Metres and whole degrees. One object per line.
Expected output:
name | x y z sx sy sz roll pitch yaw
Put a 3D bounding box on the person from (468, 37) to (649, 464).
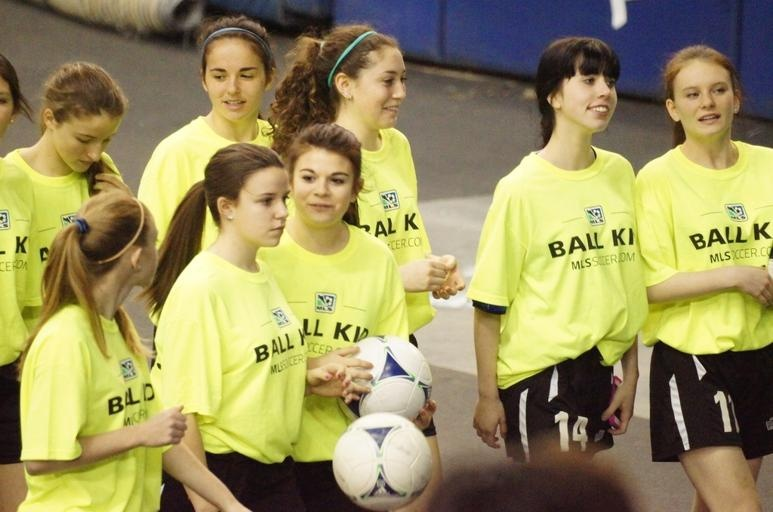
person | 0.816 -0.025 3.897 0.594 1.914 0.737 11 14 43
